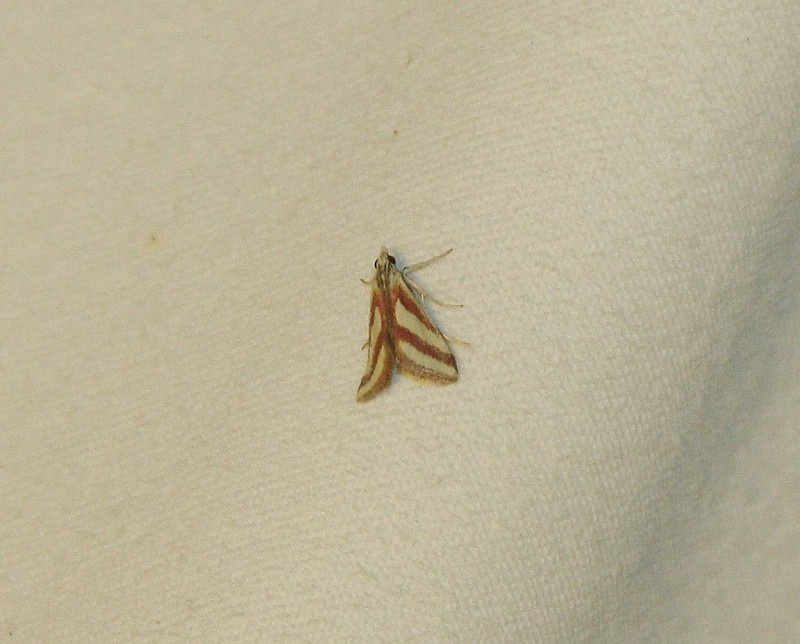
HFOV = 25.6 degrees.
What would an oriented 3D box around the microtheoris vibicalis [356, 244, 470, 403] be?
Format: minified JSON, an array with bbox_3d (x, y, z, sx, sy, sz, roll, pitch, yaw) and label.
[{"bbox_3d":[0.030,0.008,3.965,0.242,0.183,0.338,3,-67,-8],"label":"microtheoris vibicalis"}]
